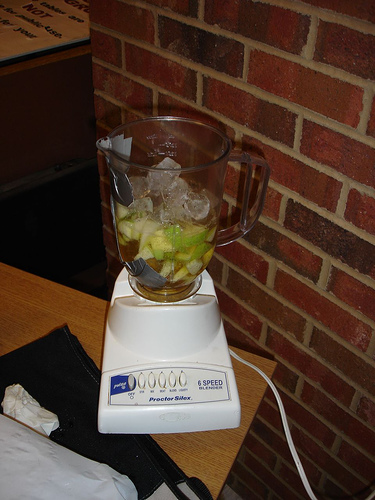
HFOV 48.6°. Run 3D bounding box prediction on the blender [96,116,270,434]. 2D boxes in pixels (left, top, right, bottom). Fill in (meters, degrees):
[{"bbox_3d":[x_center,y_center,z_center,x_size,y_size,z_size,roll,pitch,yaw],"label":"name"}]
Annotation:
[{"bbox_3d":[-0.014,0.023,0.582,0.239,0.341,0.304,-2,28,-9],"label":"blender"}]
